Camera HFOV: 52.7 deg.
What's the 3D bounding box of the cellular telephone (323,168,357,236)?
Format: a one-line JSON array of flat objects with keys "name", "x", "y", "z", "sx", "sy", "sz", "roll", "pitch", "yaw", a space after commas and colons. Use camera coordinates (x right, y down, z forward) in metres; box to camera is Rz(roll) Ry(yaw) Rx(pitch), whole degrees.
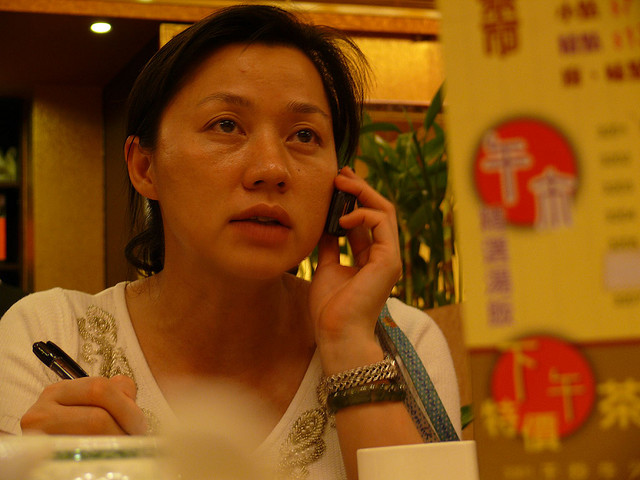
[{"name": "cellular telephone", "x": 0.039, "y": -0.051, "z": 1.174, "sx": 0.060, "sy": 0.086, "sz": 0.080, "roll": -1, "pitch": -1, "yaw": -13}]
